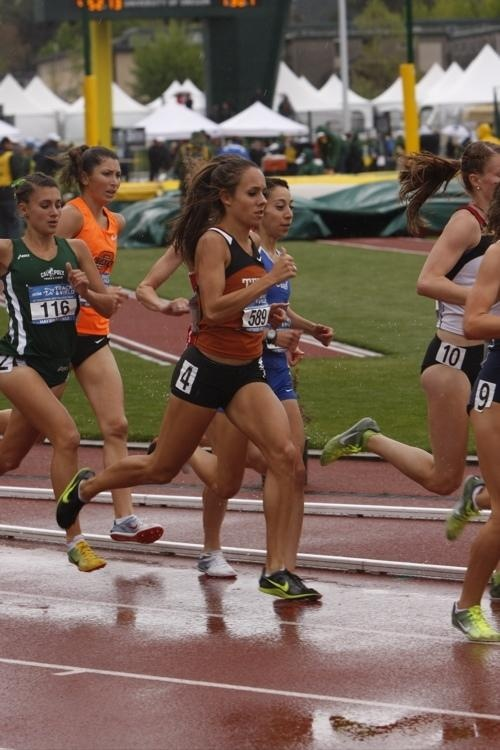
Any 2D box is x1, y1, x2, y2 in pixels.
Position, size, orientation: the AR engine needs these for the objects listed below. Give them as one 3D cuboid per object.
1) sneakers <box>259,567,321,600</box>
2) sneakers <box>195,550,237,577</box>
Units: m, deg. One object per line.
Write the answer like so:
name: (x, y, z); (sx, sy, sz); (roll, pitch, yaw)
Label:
sneakers: (0.163, 0.924, 3.737); (0.328, 0.125, 0.118); (7, -8, 0)
sneakers: (-0.172, 0.983, 4.347); (0.096, 0.090, 0.226); (1, -1, -43)
